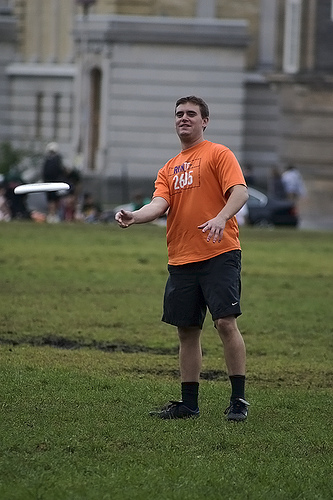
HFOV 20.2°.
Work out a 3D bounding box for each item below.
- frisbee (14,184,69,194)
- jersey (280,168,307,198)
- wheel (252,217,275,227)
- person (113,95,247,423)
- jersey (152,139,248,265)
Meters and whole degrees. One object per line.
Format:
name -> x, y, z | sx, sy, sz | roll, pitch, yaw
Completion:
frisbee -> -0.673, -0.344, 5.158 | 0.203, 0.047, 0.327 | 6, 6, 42
jersey -> 3.271, -1.761, 24.184 | 0.800, 0.717, 0.554 | 4, 5, 32
wheel -> 2.398, -0.693, 22.914 | 0.516, 0.234, 0.262 | 2, 4, 7
person -> 0.179, 0.032, 5.045 | 0.620, 1.730, 0.562 | 4, 4, 23
jersey -> 0.168, -0.256, 5.124 | 0.560, 0.683, 0.224 | 6, 5, 42
